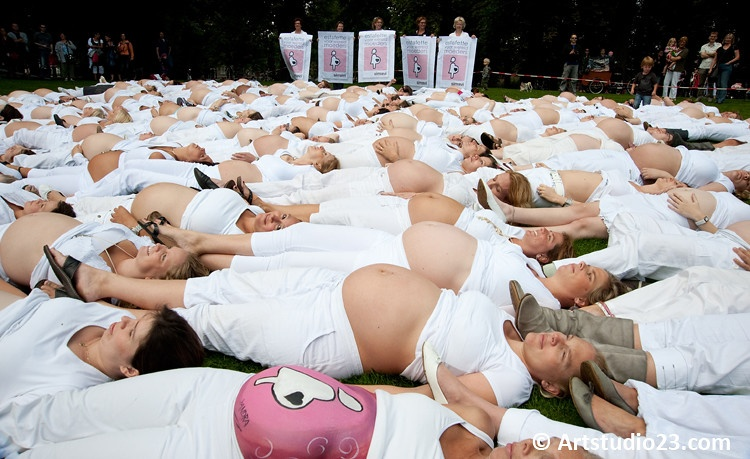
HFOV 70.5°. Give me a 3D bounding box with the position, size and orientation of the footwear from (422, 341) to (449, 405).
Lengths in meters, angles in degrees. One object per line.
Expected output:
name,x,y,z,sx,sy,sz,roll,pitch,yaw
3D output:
footwear,0.584,1.427,5.268,0.150,0.572,0.204,-11,-4,16

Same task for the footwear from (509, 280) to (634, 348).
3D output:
footwear,2.091,1.033,5.845,1.656,0.598,0.546,6,38,4

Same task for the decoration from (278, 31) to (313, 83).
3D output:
decoration,-2.464,-5.351,16.372,0.934,1.400,0.648,2,26,0
